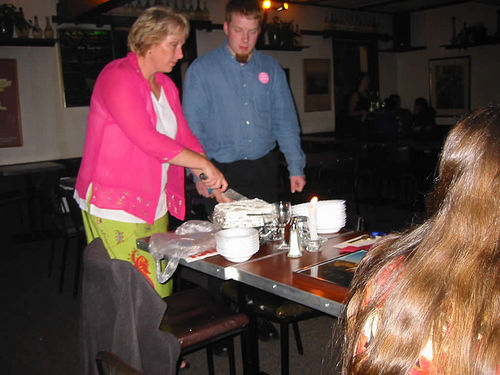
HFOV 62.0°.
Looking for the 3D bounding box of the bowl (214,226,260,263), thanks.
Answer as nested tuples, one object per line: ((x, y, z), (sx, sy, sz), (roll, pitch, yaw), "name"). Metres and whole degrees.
((-0.045, 0.212, 1.630), (0.130, 0.085, 0.138), (-2, 2, 0), "bowl")

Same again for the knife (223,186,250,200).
((-0.075, 0.025, 2.244), (0.179, 0.027, 0.013), (22, -10, 36), "knife")

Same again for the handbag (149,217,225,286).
((-0.254, 0.227, 1.815), (0.311, 0.143, 0.299), (-22, 14, -31), "handbag")

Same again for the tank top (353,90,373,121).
((1.932, -1.405, 7.115), (0.244, 0.473, 0.604), (3, 13, 28), "tank top")

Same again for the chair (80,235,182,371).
((-0.440, 0.446, 1.430), (0.203, 0.480, 0.395), (-14, 16, -43), "chair")

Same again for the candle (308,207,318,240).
((0.263, 0.130, 1.714), (0.034, 0.133, 0.148), (-1, 12, 8), "candle")

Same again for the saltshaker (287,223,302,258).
((0.170, 0.203, 1.592), (0.057, 0.134, 0.035), (-2, 12, 5), "saltshaker")

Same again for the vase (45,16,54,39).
((-2.454, -1.970, 5.085), (0.089, 0.283, 0.190), (-7, 12, -18), "vase")

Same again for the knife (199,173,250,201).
((-0.136, -0.004, 2.022), (0.217, 0.162, 0.172), (-6, 12, -14), "knife")
